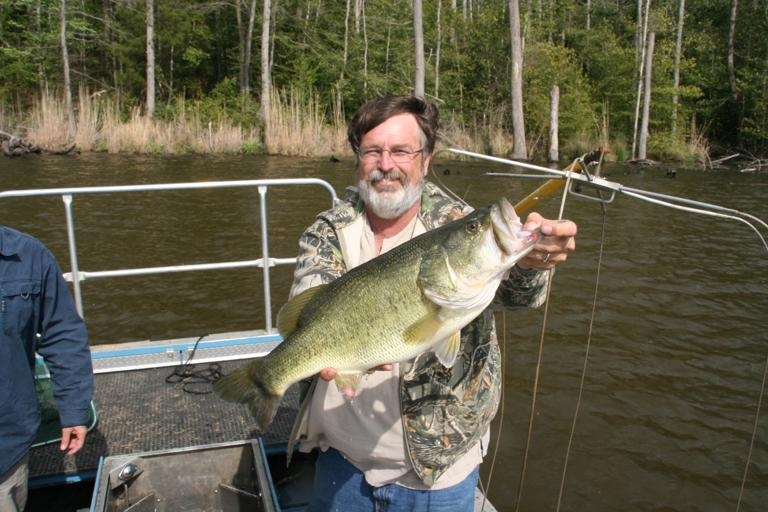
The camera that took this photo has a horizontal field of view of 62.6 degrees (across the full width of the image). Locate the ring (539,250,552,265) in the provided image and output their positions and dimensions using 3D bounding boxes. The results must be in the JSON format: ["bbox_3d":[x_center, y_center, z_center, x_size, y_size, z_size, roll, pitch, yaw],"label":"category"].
[{"bbox_3d":[1.065,0.009,4.156,0.046,0.063,0.020,32,17,-9],"label":"ring"}]

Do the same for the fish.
[{"bbox_3d":[0.046,0.365,4.680,2.737,1.099,0.934,-26,-3,5],"label":"fish"}]
